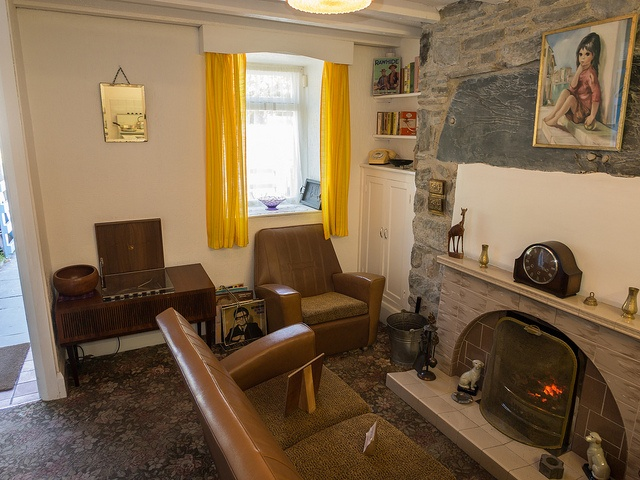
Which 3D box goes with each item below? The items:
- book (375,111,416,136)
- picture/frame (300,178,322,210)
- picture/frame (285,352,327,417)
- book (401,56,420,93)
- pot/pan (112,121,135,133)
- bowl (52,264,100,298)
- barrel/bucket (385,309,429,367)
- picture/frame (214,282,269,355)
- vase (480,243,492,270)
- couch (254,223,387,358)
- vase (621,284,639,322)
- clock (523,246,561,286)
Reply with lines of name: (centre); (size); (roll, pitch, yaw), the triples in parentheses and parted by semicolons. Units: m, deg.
book: (0.850, -1.283, 4.951); (0.217, 0.251, 0.632); (-7, 16, -19)
picture/frame: (-0.100, -0.543, 5.351); (0.330, 0.331, 0.078); (22, 10, 40)
picture/frame: (-0.104, 0.981, 3.015); (0.110, 0.322, 0.304); (18, 22, 37)
book: (0.930, -1.699, 4.675); (0.133, 0.350, 0.456); (-1, 15, 5)
pot/pan: (-1.822, -1.057, 4.188); (0.163, 0.063, 0.097); (-9, 25, -28)
bowl: (-2.165, 0.384, 3.990); (0.354, 0.221, 0.367); (3, 17, -1)
barrel/bucket: (0.809, 0.916, 4.363); (0.439, 0.415, 0.438); (0, 16, 0)
picture/frame: (-0.775, 0.783, 4.376); (0.562, 0.611, 0.321); (-6, 10, -27)
vase: (1.351, 0.123, 3.695); (0.075, 0.179, 0.185); (3, 15, 21)
couch: (-0.017, 0.490, 4.902); (1.326, 1.530, 1.226); (-3, 6, -24)
vase: (1.984, 0.385, 2.863); (0.079, 0.205, 0.166); (9, 18, 37)
clock: (1.587, 0.182, 3.191); (0.042, 0.316, 0.257); (-2, 5, -29)
